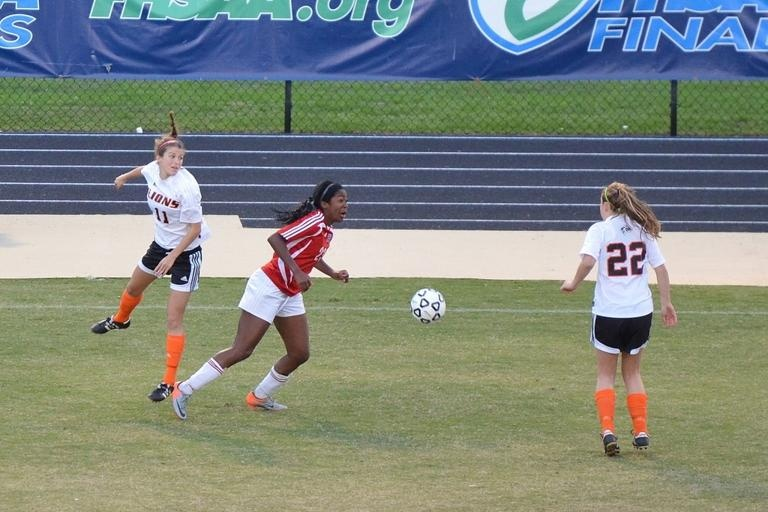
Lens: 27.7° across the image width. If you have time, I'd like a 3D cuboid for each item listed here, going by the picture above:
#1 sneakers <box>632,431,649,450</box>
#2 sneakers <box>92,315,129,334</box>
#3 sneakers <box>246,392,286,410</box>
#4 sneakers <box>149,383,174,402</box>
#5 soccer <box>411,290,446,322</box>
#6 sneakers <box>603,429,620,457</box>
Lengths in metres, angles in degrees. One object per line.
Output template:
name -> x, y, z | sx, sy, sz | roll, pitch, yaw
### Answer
sneakers -> 3.192, 2.277, 19.337 | 0.207, 0.217, 0.221 | 4, 0, 8
sneakers -> -3.772, 0.935, 21.486 | 0.661, 0.196, 0.266 | -5, 16, 0
sneakers -> -1.538, 1.856, 20.152 | 0.585, 0.191, 0.186 | 6, 18, -14
sneakers -> -2.843, 1.747, 20.154 | 0.347, 0.169, 0.170 | -31, -18, -13
soccer -> 0.626, 0.712, 22.060 | 0.460, 0.488, 0.231 | 4, 0, -1
sneakers -> 2.770, 2.299, 19.143 | 0.155, 0.144, 0.394 | -9, 17, 3
